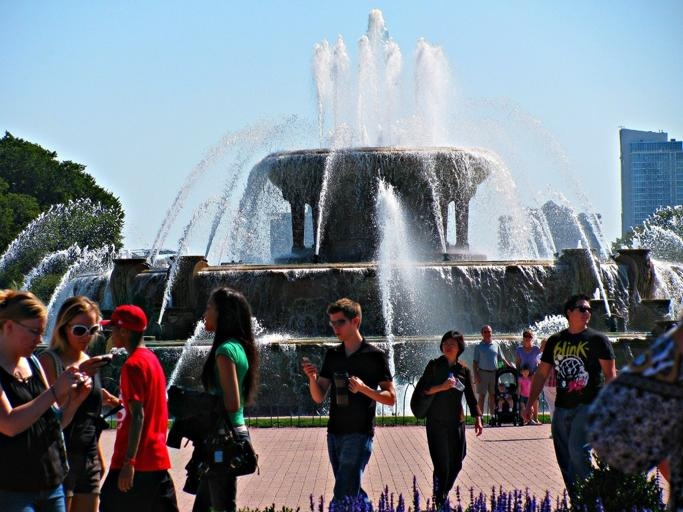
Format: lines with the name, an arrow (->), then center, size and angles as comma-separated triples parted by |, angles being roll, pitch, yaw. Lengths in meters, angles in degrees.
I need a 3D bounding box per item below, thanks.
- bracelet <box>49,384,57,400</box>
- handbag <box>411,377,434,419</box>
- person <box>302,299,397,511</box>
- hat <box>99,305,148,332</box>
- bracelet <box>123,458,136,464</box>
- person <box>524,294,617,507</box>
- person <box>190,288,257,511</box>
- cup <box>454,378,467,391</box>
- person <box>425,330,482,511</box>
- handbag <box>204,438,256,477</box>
bracelet -> -1.808, 0.863, 5.051 | 0.030, 0.089, 0.078 | -5, -14, 22
handbag -> 0.749, 1.353, 7.620 | 0.107, 0.359, 0.235 | 7, 10, -22
person -> 0.064, 1.122, 6.533 | 0.742, 1.638, 0.549 | 0, -13, 1
hat -> -1.639, 0.466, 6.092 | 0.299, 0.198, 0.212 | 15, 1, 12
bracelet -> -1.489, 1.451, 5.672 | 0.061, 0.041, 0.036 | 8, -15, -28
person -> 2.096, 1.332, 7.129 | 0.515, 2.080, 0.738 | 25, -27, -38
person -> -0.863, 1.067, 6.163 | 0.458, 1.714, 0.447 | 3, -13, -11
cup -> 1.115, 1.214, 7.581 | 0.087, 0.109, 0.234 | -4, -15, 18
person -> 1.078, 1.516, 7.595 | 0.573, 1.570, 0.484 | 3, -13, -11
handbag -> -0.790, 1.491, 5.949 | 0.279, 0.137, 0.302 | 2, 2, 13
